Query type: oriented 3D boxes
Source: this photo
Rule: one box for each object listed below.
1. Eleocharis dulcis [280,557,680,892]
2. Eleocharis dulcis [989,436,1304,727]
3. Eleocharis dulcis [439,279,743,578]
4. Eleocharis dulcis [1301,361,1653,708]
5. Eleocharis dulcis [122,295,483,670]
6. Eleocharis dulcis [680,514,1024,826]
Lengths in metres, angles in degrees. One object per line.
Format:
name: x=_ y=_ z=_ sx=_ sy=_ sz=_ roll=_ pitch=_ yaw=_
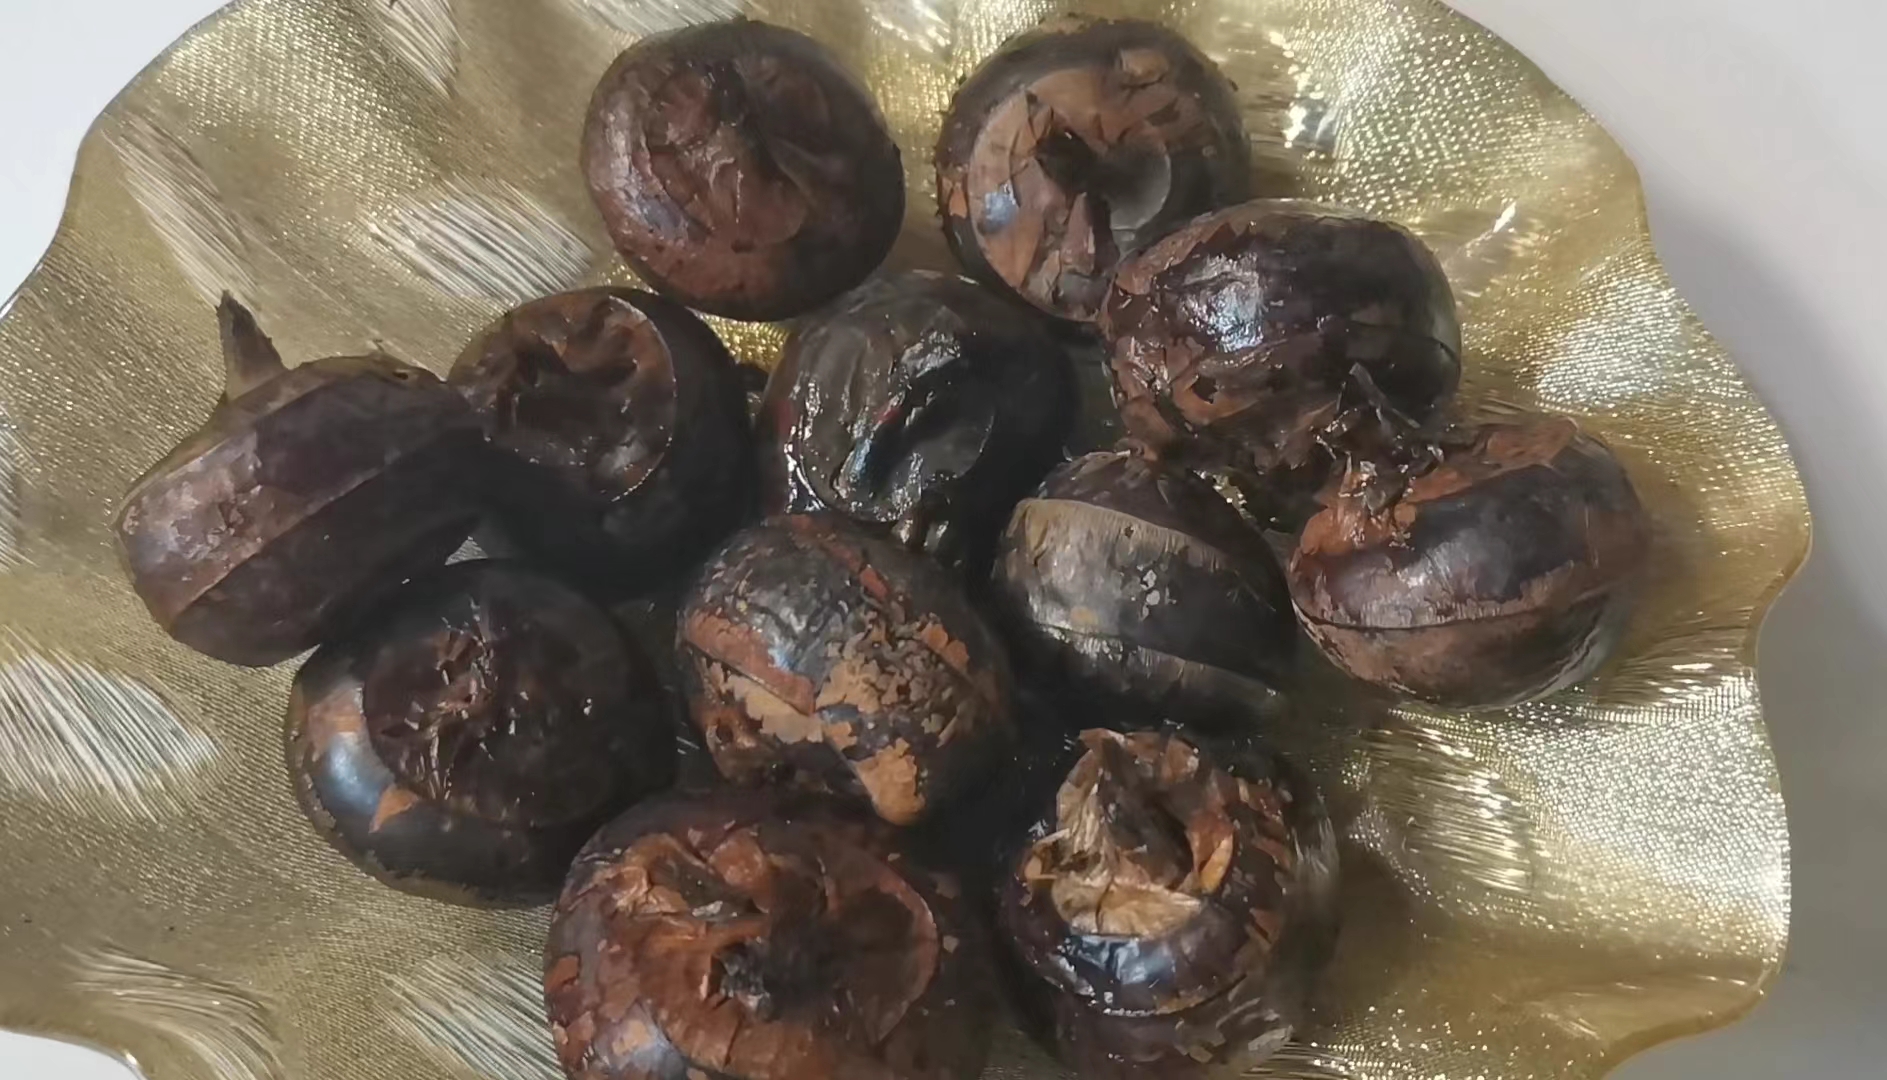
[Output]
Eleocharis dulcis: x=-0.308 y=0.123 z=1.705 sx=0.222 sy=0.224 sz=0.121 roll=-41 pitch=5 yaw=-7
Eleocharis dulcis: x=0.131 y=0.030 z=1.746 sx=0.183 sy=0.161 sz=0.107 roll=30 pitch=1 yaw=0
Eleocharis dulcis: x=-0.302 y=-0.106 z=1.846 sx=0.239 sy=0.143 sz=0.252 roll=6 pitch=-3 yaw=-12
Eleocharis dulcis: x=0.361 y=-0.009 z=1.779 sx=0.210 sy=0.217 sz=0.127 roll=-37 pitch=0 yaw=9
Eleocharis dulcis: x=-0.413 y=-0.033 z=1.675 sx=0.246 sy=0.262 sz=0.067 roll=19 pitch=31 yaw=-38
Eleocharis dulcis: x=-0.060 y=0.094 z=1.736 sx=0.201 sy=0.119 sz=0.181 roll=17 pitch=80 yaw=5
